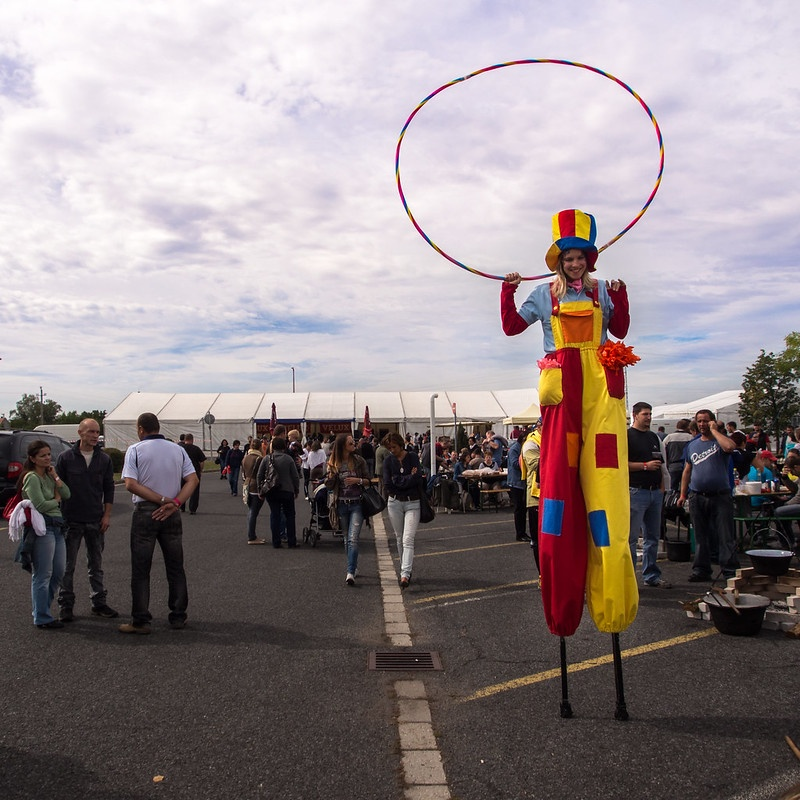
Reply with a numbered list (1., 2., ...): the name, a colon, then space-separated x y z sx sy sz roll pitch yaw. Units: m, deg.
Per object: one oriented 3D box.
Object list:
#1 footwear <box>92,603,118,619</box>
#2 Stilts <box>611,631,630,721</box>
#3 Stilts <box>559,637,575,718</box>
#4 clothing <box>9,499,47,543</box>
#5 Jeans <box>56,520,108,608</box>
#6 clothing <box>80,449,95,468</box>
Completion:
1. footwear: -2.844 2.022 6.632 0.268 0.113 0.110 3 -1 6
2. Stilts: 1.236 1.574 3.940 0.108 0.455 0.104 6 -16 -22
3. Stilts: 0.938 1.620 4.003 0.091 0.410 0.094 13 -22 -29
4. clothing: -3.375 1.099 6.265 0.390 0.403 0.186 -1 -7 -36
5. Jeans: -3.113 1.580 6.804 0.492 0.982 0.270 1 -6 -18
6. clothing: -3.147 0.590 6.957 0.116 0.128 0.128 0 -3 -44
